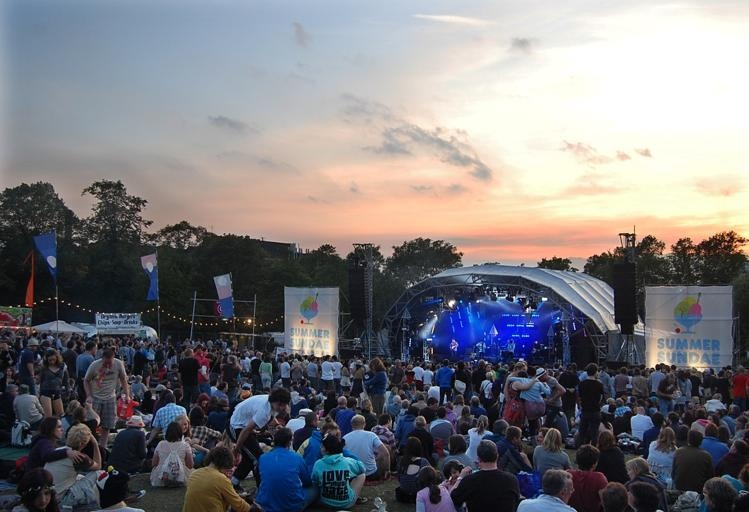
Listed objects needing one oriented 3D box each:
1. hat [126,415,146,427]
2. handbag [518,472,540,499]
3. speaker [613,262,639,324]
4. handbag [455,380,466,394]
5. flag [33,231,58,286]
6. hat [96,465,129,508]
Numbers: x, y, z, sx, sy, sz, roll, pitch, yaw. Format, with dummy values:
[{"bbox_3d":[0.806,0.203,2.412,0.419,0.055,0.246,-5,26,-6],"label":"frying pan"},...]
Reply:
[{"bbox_3d":[-7.545,5.298,35.600,0.485,0.186,0.512,17,-18,17],"label":"hat"},{"bbox_3d":[4.652,6.971,33.772,0.761,0.839,0.535,2,3,40],"label":"handbag"},{"bbox_3d":[11.286,1.669,50.607,0.973,2.794,1.129,-1,-5,9],"label":"speaker"},{"bbox_3d":[3.302,5.069,43.497,0.581,0.571,0.343,-2,-11,-1],"label":"handbag"},{"bbox_3d":[-15.519,-0.018,52.705,0.987,2.291,2.482,2,-5,-17],"label":"flag"},{"bbox_3d":[-7.817,6.960,33.408,0.855,1.062,0.528,0,-5,7],"label":"hat"}]
